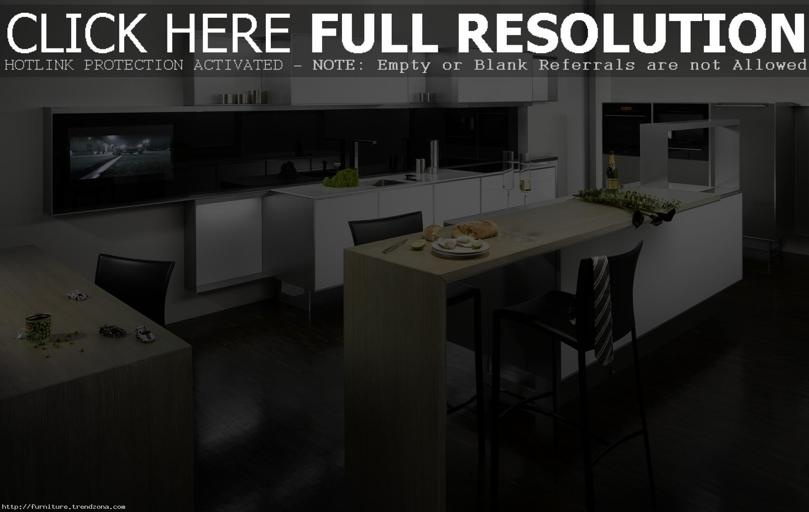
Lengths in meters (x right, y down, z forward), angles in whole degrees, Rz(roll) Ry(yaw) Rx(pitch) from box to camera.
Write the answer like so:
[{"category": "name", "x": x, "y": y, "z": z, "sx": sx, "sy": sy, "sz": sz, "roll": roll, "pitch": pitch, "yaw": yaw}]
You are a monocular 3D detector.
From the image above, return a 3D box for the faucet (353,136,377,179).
[{"category": "faucet", "x": -0.452, "y": -1.100, "z": 6.292, "sx": 0.269, "sy": 0.403, "sz": 0.457, "roll": -3, "pitch": 14, "yaw": -1}]

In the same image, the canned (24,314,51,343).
[{"category": "canned", "x": -1.934, "y": 0.378, "z": 2.982, "sx": 0.145, "sy": 0.149, "sz": 0.116, "roll": -1, "pitch": 6, "yaw": -15}]

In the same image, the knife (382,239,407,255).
[{"category": "knife", "x": -0.062, "y": -0.055, "z": 3.249, "sx": 0.045, "sy": 0.030, "sz": 0.218, "roll": 6, "pitch": 16, "yaw": 28}]

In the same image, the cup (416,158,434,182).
[{"category": "cup", "x": 0.252, "y": -0.978, "z": 6.529, "sx": 0.167, "sy": 0.316, "sz": 0.313, "roll": 1, "pitch": 3, "yaw": 42}]

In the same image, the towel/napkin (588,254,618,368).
[{"category": "towel/napkin", "x": 1.100, "y": 0.277, "z": 3.108, "sx": 0.052, "sy": 0.583, "sz": 0.136, "roll": 8, "pitch": -16, "yaw": -22}]
